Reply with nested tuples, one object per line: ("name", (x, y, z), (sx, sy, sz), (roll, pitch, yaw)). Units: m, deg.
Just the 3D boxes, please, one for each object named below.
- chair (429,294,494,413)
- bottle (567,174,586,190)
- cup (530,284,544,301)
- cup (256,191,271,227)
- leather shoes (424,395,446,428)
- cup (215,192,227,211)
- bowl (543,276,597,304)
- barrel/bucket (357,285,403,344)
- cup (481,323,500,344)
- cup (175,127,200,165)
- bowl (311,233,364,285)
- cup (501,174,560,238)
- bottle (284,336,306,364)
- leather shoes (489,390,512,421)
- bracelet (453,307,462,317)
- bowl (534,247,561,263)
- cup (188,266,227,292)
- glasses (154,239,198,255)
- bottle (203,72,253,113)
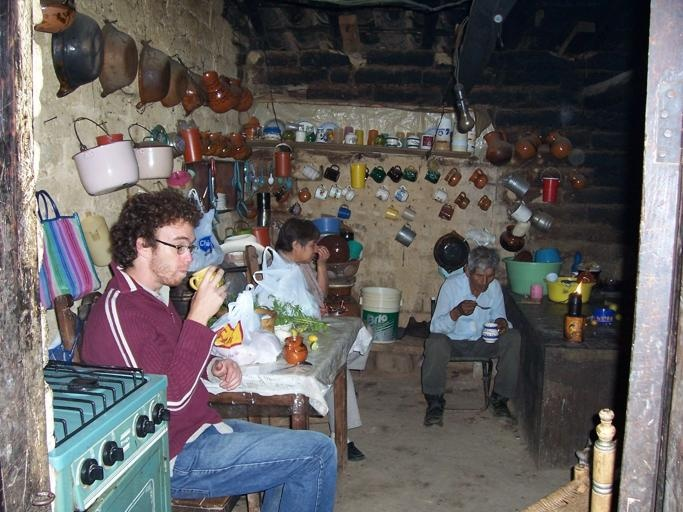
("chair", (1.036, 0.819, 5.255), (0.606, 0.886, 0.623), (6, -14, -21))
("bottle", (2.428, -0.756, 6.449), (0.194, 0.158, 0.149), (3, 10, 10))
("cup", (1.737, 0.321, 5.647), (0.134, 0.150, 0.133), (0, 5, 0))
("cup", (-0.759, -0.452, 6.143), (0.150, 0.319, 0.154), (-2, 1, 0))
("leather shoes", (0.735, 1.194, 4.976), (0.154, 0.192, 0.280), (2, 10, 8))
("cup", (-0.962, -0.435, 5.077), (0.121, 0.135, 0.136), (0, 2, 4))
("bowl", (1.999, 0.277, 5.459), (0.356, 0.151, 0.302), (1, 0, 3))
("barrel/bucket", (0.354, 0.546, 5.993), (0.477, 0.533, 0.506), (0, 2, 0))
("cup", (1.148, 0.597, 4.934), (0.156, 0.139, 0.116), (0, -3, -1))
("cup", (-1.094, -0.803, 4.614), (0.146, 0.247, 0.217), (1, 10, 3))
("bowl", (-0.011, 0.038, 5.975), (0.458, 0.316, 0.414), (0, -13, 11))
("cup", (1.941, -0.539, 6.412), (0.567, 0.594, 0.395), (1, 10, -1))
("bottle", (-0.233, 0.488, 3.323), (0.128, 0.124, 0.126), (-2, 10, 3))
("leather shoes", (1.275, 1.201, 5.059), (0.096, 0.193, 0.278), (2, -3, -23))
("bracelet", (0.933, 0.446, 5.065), (0.049, 0.080, 0.052), (21, 23, 20))
("bowl", (1.982, 0.008, 6.082), (0.175, 0.129, 0.181), (1, -2, 0))
("cup", (-0.658, 0.109, 3.064), (0.126, 0.092, 0.081), (-26, 51, -4))
("glasses", (-0.750, -0.046, 2.844), (0.089, 0.026, 0.086), (17, 8, 15))
("bottle", (-0.958, -1.354, 5.291), (0.219, 0.270, 0.472), (-12, 2, 6))
